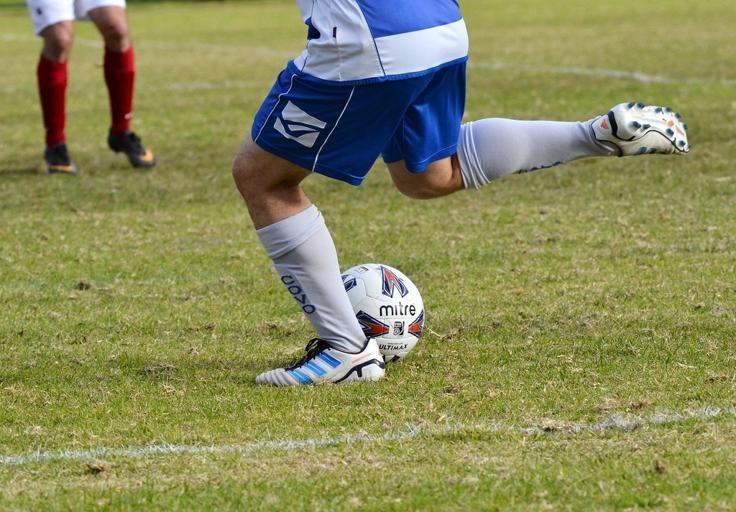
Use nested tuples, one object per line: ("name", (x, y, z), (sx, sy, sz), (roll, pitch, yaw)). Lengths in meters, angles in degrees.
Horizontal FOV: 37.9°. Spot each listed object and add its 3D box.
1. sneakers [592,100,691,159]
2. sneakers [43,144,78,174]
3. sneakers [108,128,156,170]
("sneakers", (1.532, -0.619, 5.604), (0.421, 0.155, 0.231), (15, 26, 36))
("sneakers", (-1.740, -0.534, 6.009), (0.200, 0.170, 0.117), (2, 5, -6))
("sneakers", (-1.354, -0.601, 6.184), (0.149, 0.108, 0.297), (-10, -25, 32))
